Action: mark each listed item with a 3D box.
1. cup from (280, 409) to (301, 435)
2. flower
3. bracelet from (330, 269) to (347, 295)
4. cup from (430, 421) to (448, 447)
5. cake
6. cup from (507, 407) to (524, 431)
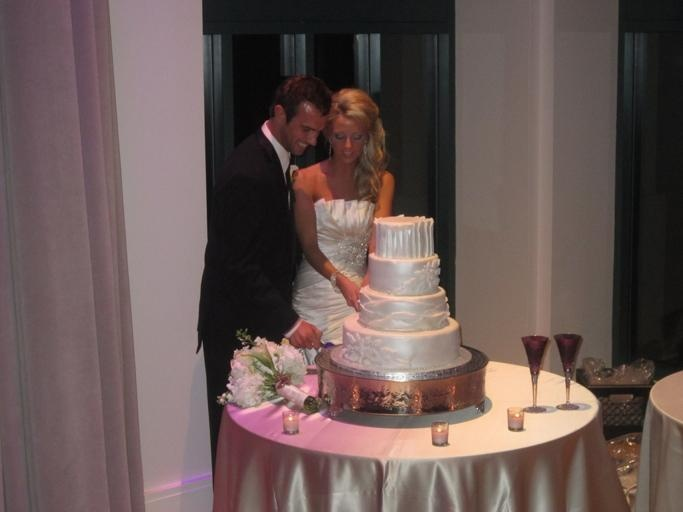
[{"bbox_3d":[-0.228,0.733,3.161,0.072,0.096,0.079,1,8,0],"label":"cup"},{"bbox_3d":[-0.340,0.576,3.417,0.372,0.313,0.370,9,3,-38],"label":"flower"},{"bbox_3d":[-0.029,0.158,4.350,0.085,0.124,0.065,-9,21,5],"label":"bracelet"},{"bbox_3d":[0.428,0.754,3.052,0.089,0.087,0.078,-5,8,-10],"label":"cup"},{"bbox_3d":[0.285,0.115,3.454,0.591,0.667,0.601,5,9,44],"label":"cake"},{"bbox_3d":[0.762,0.711,3.124,0.073,0.097,0.080,0,-3,0],"label":"cup"}]
